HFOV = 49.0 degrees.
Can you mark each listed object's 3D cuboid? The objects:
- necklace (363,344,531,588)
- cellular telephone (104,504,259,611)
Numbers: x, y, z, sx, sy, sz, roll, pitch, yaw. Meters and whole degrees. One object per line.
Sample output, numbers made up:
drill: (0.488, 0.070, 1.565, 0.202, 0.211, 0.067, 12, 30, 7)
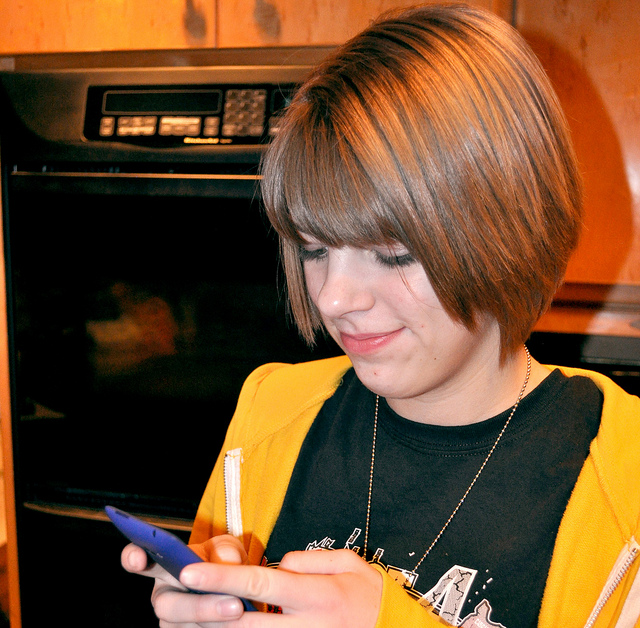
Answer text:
necklace: (0.178, 0.237, 0.965, 0.136, 0.456, 0.010, 21, -4, 27)
cellular telephone: (-0.178, 0.256, 0.769, 0.124, 0.091, 0.043, 14, 22, 27)
